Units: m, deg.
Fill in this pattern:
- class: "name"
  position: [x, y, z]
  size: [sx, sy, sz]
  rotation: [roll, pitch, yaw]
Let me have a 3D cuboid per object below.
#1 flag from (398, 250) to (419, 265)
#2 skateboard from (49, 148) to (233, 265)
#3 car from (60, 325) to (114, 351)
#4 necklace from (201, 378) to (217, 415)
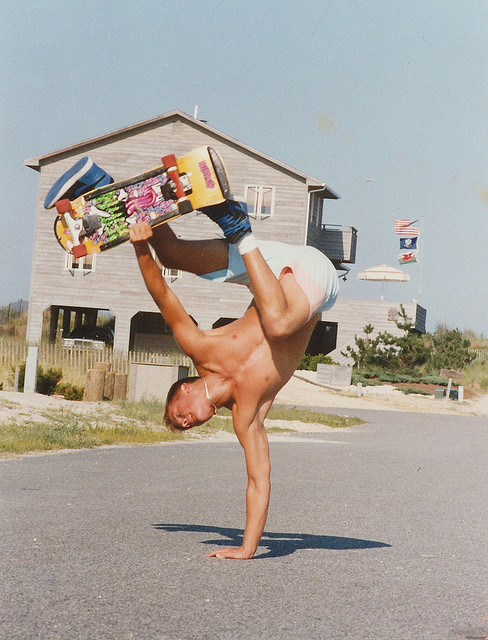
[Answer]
- class: "flag"
  position: [9.966, -3.788, 34.739]
  size: [1.027, 0.586, 0.498]
  rotation: [5, -3, 41]
- class: "skateboard"
  position: [-0.513, -0.509, 2.700]
  size: [1.002, 0.358, 0.164]
  rotation: [-18, -3, 13]
- class: "car"
  position: [-8.812, 0.950, 32.485]
  size: [2.626, 1.316, 3.037]
  rotation: [7, -2, -15]
- class: "necklace"
  position: [-0.198, 0.425, 3.207]
  size: [0.033, 0.218, 0.027]
  rotation: [-23, -7, -30]
